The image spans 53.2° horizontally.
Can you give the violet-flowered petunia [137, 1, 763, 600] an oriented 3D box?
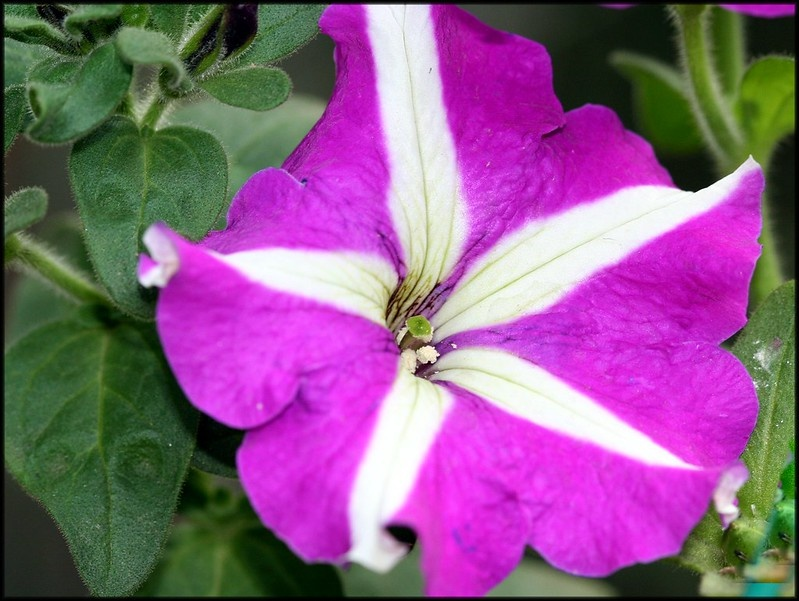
[{"bbox_3d":[0.115,-0.036,0.894,0.553,0.533,0.639,11,37,30],"label":"violet-flowered petunia"}]
